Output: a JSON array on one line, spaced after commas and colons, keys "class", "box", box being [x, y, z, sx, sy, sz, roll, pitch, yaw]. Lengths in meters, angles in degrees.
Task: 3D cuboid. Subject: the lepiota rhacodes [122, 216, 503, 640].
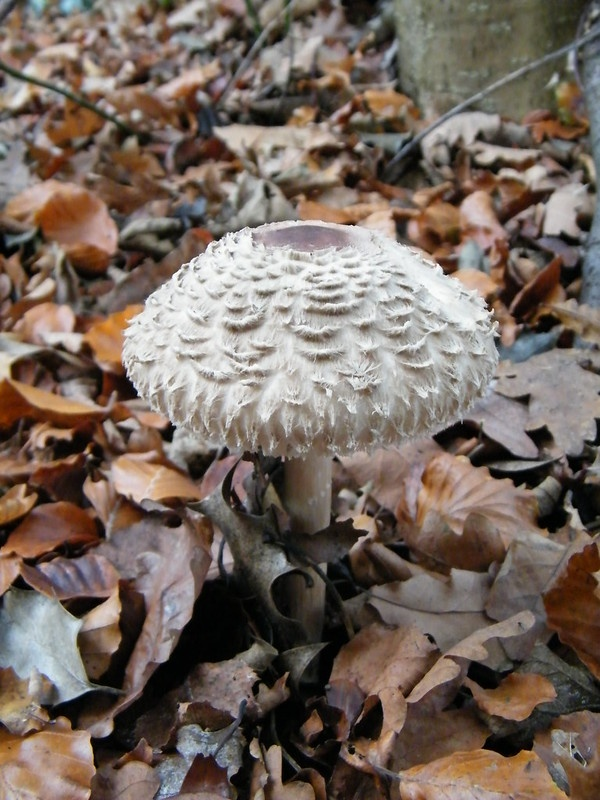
[{"class": "lepiota rhacodes", "box": [0.031, -0.135, 1.863, 0.787, 0.353, 0.564, -22, 41, -9]}]
